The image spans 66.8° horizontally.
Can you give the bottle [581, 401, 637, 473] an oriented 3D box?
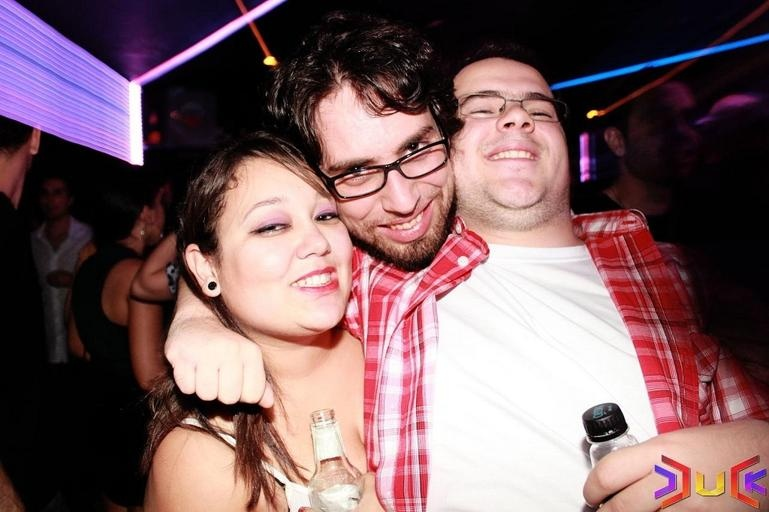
[{"bbox_3d":[1.367,1.061,3.502,0.277,0.361,0.398,-12,-13,17],"label":"bottle"}]
